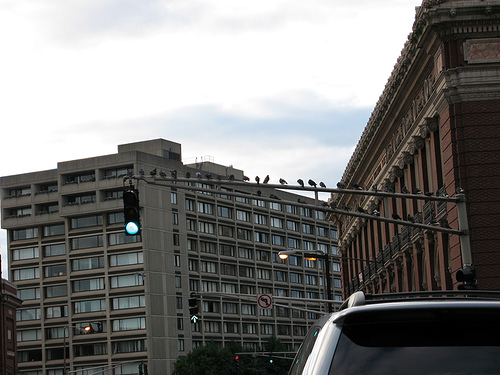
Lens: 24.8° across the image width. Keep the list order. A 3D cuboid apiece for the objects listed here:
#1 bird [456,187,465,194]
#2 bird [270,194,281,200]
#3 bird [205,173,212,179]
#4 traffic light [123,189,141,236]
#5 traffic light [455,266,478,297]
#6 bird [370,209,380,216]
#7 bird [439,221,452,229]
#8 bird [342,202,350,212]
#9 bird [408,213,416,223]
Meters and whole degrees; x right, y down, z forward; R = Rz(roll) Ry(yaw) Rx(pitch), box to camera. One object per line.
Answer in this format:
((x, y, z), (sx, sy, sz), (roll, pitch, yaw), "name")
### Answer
((9.989, 0.147, 53.904), (0.283, 0.303, 0.312), (-17, -16, -7), "bird")
((1.077, 0.475, 54.002), (0.277, 0.179, 0.664), (-25, 19, -38), "bird")
((-2.003, -0.551, 55.758), (0.375, 0.305, 0.273), (-5, 1, -9), "bird")
((-4.959, 0.999, 47.342), (0.658, 2.074, 0.868), (-2, -15, -7), "traffic light")
((9.548, 4.023, 50.121), (0.843, 1.108, 1.824), (-6, -15, 9), "traffic light")
((6.941, 1.374, 63.010), (0.296, 0.311, 0.825), (-1, -11, 0), "bird")
((9.905, 1.958, 57.525), (0.598, 0.188, 0.404), (22, 9, -8), "bird")
((5.885, 1.191, 69.511), (0.555, 0.258, 0.710), (8, 2, -1), "bird")
((8.333, 1.598, 58.524), (0.181, 0.354, 0.691), (-7, -31, 13), "bird")
